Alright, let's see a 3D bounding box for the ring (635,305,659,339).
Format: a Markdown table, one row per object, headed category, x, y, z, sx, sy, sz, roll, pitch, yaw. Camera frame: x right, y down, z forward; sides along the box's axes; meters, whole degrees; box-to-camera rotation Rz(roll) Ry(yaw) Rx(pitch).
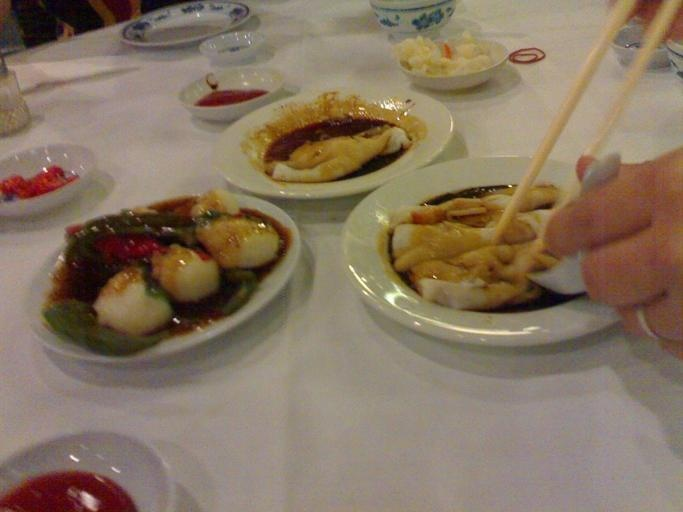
| category | x | y | z | sx | sy | sz | roll | pitch | yaw |
| --- | --- | --- | --- | --- | --- | --- | --- | --- | --- |
| ring | 0.459 | 0.102 | 0.919 | 0.043 | 0.011 | 0.046 | 18 | 50 | -23 |
